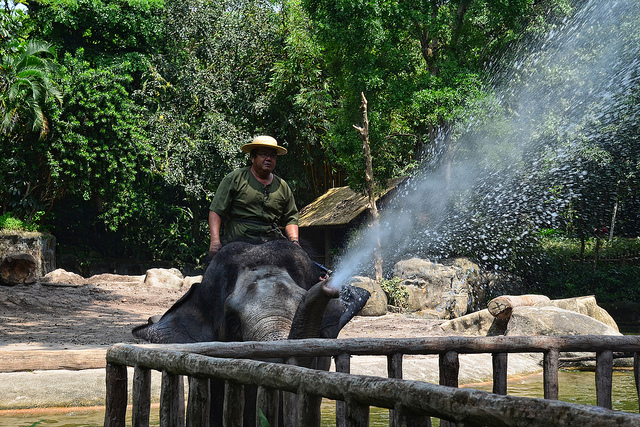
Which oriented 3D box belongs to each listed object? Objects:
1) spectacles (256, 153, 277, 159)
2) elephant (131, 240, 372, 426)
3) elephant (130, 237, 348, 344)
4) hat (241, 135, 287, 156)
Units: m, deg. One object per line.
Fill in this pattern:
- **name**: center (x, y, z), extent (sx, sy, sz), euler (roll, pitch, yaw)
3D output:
- **spectacles**: center (-0.880, -0.948, 12.844), extent (0.332, 0.086, 0.084), euler (3, -2, -19)
- **elephant**: center (-0.993, 1.766, 11.789), extent (2.518, 1.937, 3.464), euler (0, -16, -19)
- **elephant**: center (-1.113, 1.322, 12.123), extent (1.858, 1.134, 2.289), euler (8, -6, -20)
- **hat**: center (-0.938, -1.149, 12.970), extent (0.737, 0.307, 0.448), euler (3, -2, -5)
